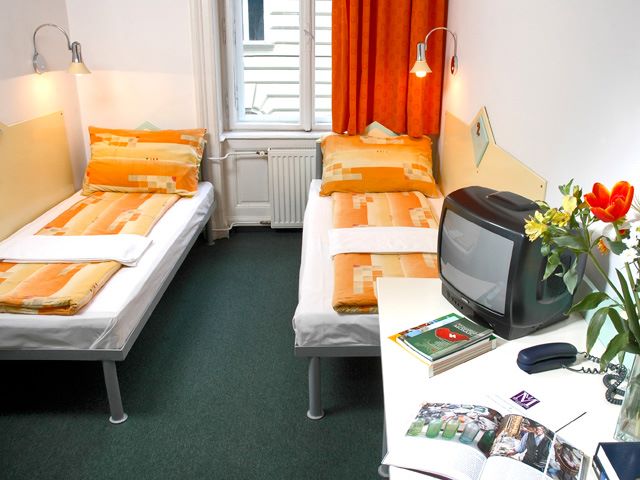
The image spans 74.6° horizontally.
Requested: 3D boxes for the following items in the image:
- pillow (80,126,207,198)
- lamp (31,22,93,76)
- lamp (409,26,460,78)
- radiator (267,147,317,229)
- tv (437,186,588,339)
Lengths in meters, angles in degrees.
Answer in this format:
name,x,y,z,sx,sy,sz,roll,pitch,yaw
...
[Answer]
name,x,y,z,sx,sy,sz,roll,pitch,yaw
pillow,-1.488,-0.641,3.560,0.938,0.607,0.339,1,4,-5
lamp,-1.915,-1.374,3.070,0.391,0.335,0.195,-2,19,-10
lamp,0.847,-1.365,3.072,0.360,0.365,0.182,2,25,14
radiator,-0.255,-0.481,4.016,0.496,0.687,0.052,-9,16,-37
tv,0.706,0.064,1.607,0.374,0.419,0.439,-10,22,-10
